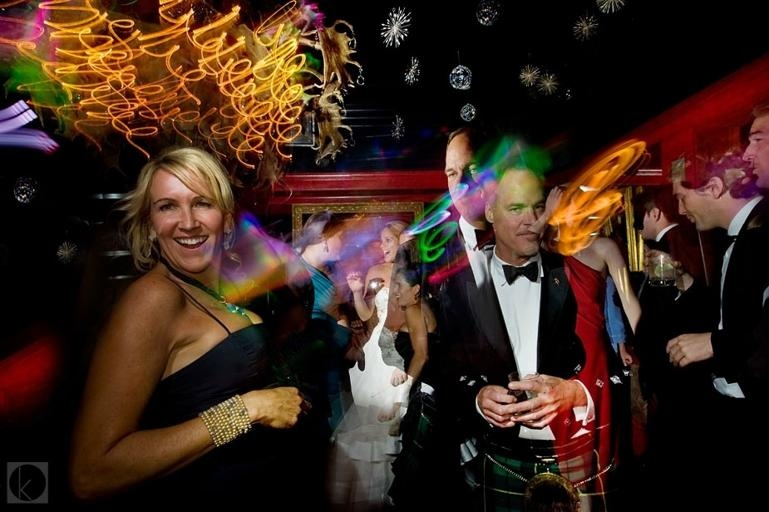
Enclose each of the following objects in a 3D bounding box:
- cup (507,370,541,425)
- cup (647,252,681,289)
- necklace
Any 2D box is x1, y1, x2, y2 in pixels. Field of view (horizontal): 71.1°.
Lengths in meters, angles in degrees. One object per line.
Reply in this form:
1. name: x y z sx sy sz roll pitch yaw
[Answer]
1. cup: 1.269 1.237 5.020 0.242 0.266 0.271 -1 -28 -1
2. cup: 3.026 0.163 5.921 0.329 0.374 0.340 1 -10 0
3. necklace: -1.477 0.251 4.288 0.639 0.148 0.391 33 11 5
